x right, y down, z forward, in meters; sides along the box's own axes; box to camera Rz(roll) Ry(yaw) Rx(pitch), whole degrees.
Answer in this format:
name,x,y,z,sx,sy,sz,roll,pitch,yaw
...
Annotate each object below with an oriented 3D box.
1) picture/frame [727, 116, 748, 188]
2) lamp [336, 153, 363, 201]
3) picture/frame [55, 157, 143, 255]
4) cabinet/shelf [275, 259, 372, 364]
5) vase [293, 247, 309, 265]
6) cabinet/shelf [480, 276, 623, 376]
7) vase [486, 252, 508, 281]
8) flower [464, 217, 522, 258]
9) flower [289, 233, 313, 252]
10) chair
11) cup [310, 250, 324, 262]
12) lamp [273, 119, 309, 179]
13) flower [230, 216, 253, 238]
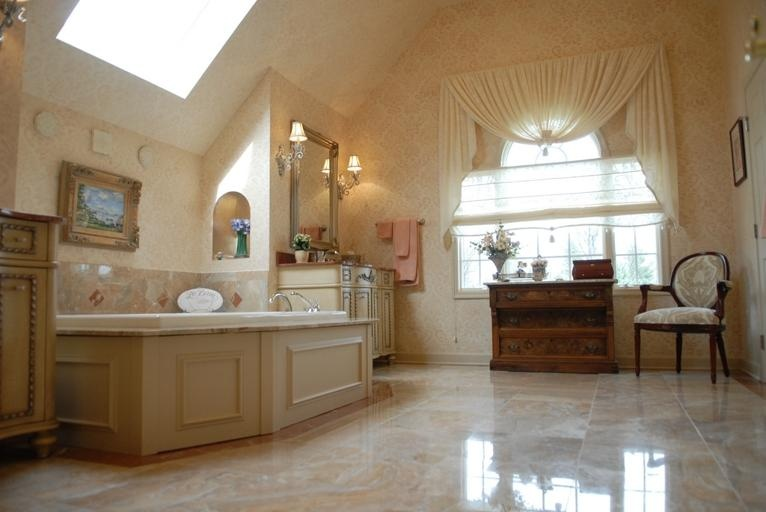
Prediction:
name,x,y,z,sx,sy,sz,roll,pitch,yaw
picture/frame,3.677,-1.071,5.603,0.122,0.688,0.689,0,2,29
lamp,-0.446,-1.033,7.084,0.316,0.595,0.428,-1,2,-1
picture/frame,-2.647,-0.453,4.977,0.095,0.824,0.919,-4,-8,35
cabinet/shelf,-0.631,0.605,5.977,0.637,0.994,1.099,-5,-7,21
vase,-0.900,0.003,5.957,0.153,0.132,0.155,1,2,-6
cabinet/shelf,1.909,0.784,5.966,1.073,0.871,0.387,-2,-8,18
vase,1.385,0.124,6.412,0.290,0.316,0.310,0,0,33
flower,1.367,-0.216,6.498,0.458,0.382,0.451,2,-1,3
flower,-0.915,-0.150,6.055,0.191,0.127,0.195,7,7,41
chair,3.100,0.536,5.474,0.926,1.268,0.876,4,-7,-7
cup,-0.770,0.005,6.219,0.149,0.154,0.149,1,1,0
lamp,-0.960,-1.216,6.117,0.319,0.659,0.609,0,2,14
flower,-1.574,-0.323,5.962,0.220,0.211,0.217,0,2,7
